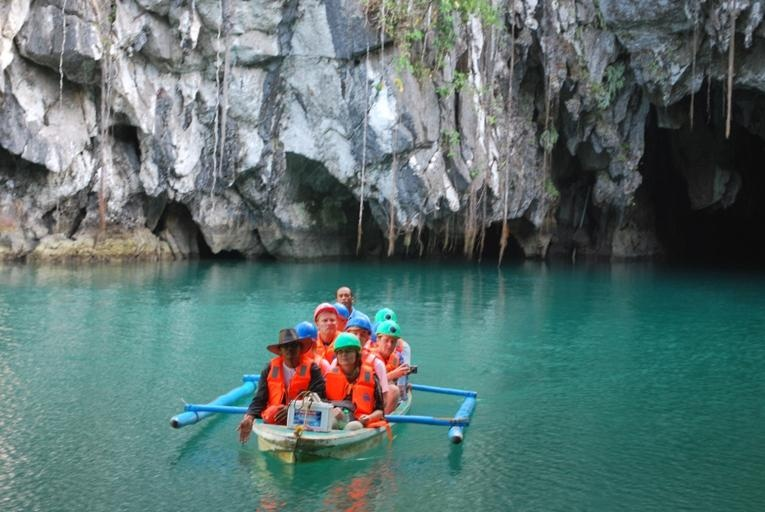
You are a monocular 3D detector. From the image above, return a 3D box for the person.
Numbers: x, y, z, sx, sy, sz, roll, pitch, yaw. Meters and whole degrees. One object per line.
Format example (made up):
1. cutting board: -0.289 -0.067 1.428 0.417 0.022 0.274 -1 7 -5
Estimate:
1. person: -0.869 1.657 9.688 2.072 1.426 1.124 -1 11 -9
